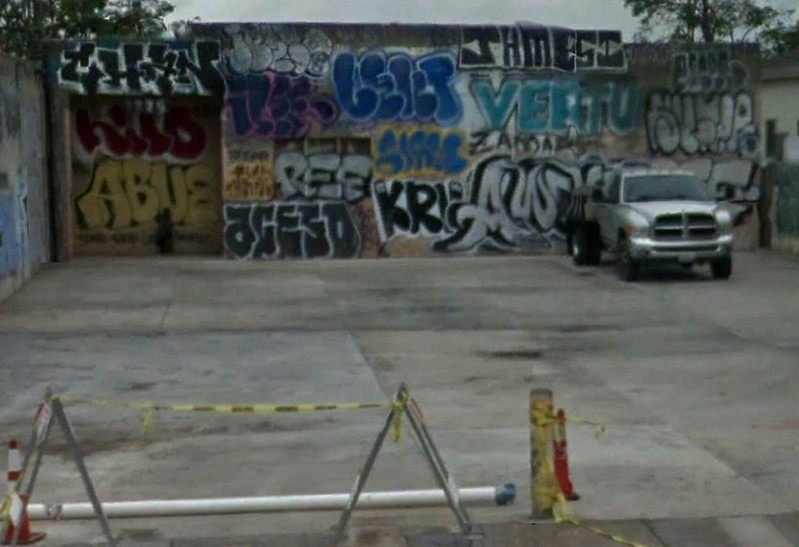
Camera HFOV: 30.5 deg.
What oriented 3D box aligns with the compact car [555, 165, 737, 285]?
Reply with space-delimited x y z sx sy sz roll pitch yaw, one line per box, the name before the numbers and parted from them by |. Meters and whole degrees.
compact car | 5.386 -1.224 33.847 2.256 2.367 5.367 -4 10 -25
